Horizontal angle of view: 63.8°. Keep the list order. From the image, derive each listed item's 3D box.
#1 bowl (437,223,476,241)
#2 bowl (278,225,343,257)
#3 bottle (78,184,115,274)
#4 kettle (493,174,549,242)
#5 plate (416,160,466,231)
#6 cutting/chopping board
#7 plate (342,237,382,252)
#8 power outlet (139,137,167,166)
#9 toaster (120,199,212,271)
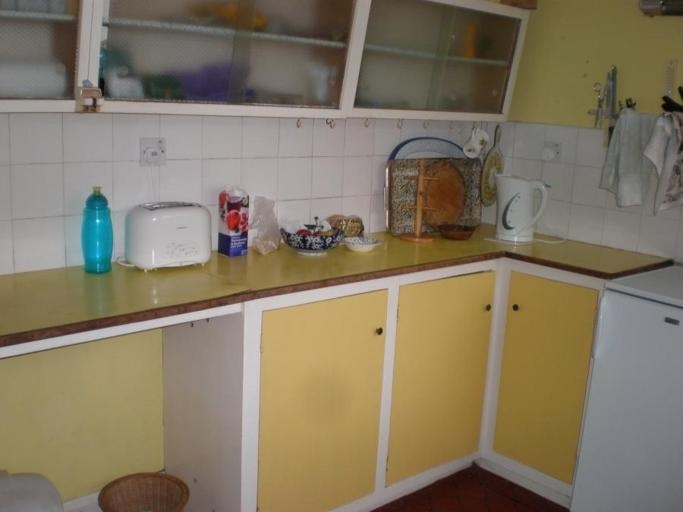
[{"bbox_3d":[0.637,-0.139,3.076,0.196,0.074,0.210,1,12,0],"label":"bowl"},{"bbox_3d":[-0.138,-0.109,2.606,0.279,0.127,0.255,1,14,0],"label":"bowl"},{"bbox_3d":[-0.974,-0.103,2.191,0.117,0.355,0.113,5,15,-1],"label":"bottle"},{"bbox_3d":[0.996,-0.268,3.032,0.202,0.388,0.322,-6,11,-44],"label":"kettle"},{"bbox_3d":[0.576,-0.349,3.125,0.353,0.382,0.084,-4,8,-43],"label":"plate"},{"bbox_3d":[0.595,-0.339,3.193,0.398,0.134,0.609,-3,49,13],"label":"cutting/chopping board"},{"bbox_3d":[0.117,-0.055,2.711,0.208,0.059,0.110,-4,13,-23],"label":"plate"},{"bbox_3d":[-0.816,-0.456,2.358,0.111,0.121,0.012,-6,11,-38],"label":"power outlet"},{"bbox_3d":[-0.711,-0.086,2.253,0.413,0.350,0.243,-5,15,-34],"label":"toaster"}]
